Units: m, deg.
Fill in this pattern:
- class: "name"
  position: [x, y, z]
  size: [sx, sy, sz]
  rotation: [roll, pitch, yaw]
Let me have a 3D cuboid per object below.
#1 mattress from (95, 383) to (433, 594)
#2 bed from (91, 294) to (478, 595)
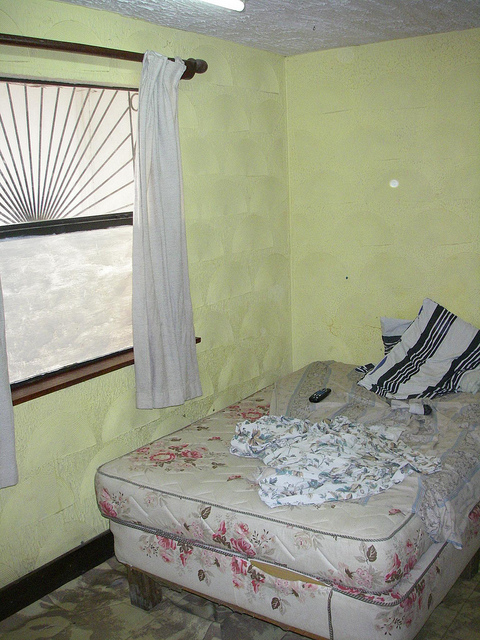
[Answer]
- class: "mattress"
  position: [0.218, 0.585, 2.034]
  size: [1.112, 0.210, 1.125]
  rotation: [-1, 11, 30]
- class: "bed"
  position: [0.504, 0.204, 2.011]
  size: [0.943, 0.483, 1.513]
  rotation: [7, 11, 37]
